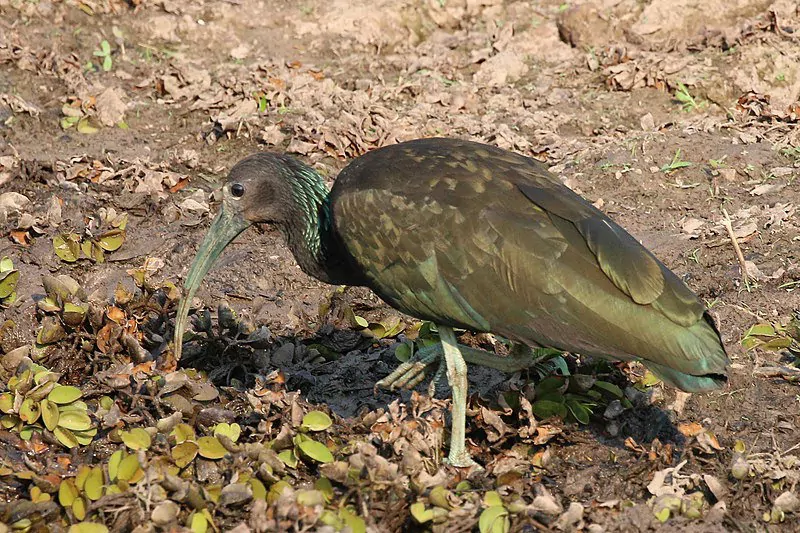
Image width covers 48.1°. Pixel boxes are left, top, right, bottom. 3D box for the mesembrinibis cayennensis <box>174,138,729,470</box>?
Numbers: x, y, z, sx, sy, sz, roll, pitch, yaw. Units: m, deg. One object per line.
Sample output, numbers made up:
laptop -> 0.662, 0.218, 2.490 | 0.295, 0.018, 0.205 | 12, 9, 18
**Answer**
mesembrinibis cayennensis -> 0.342, 0.388, 6.771 | 5.142, 2.282, 1.240 | 11, 28, 20
